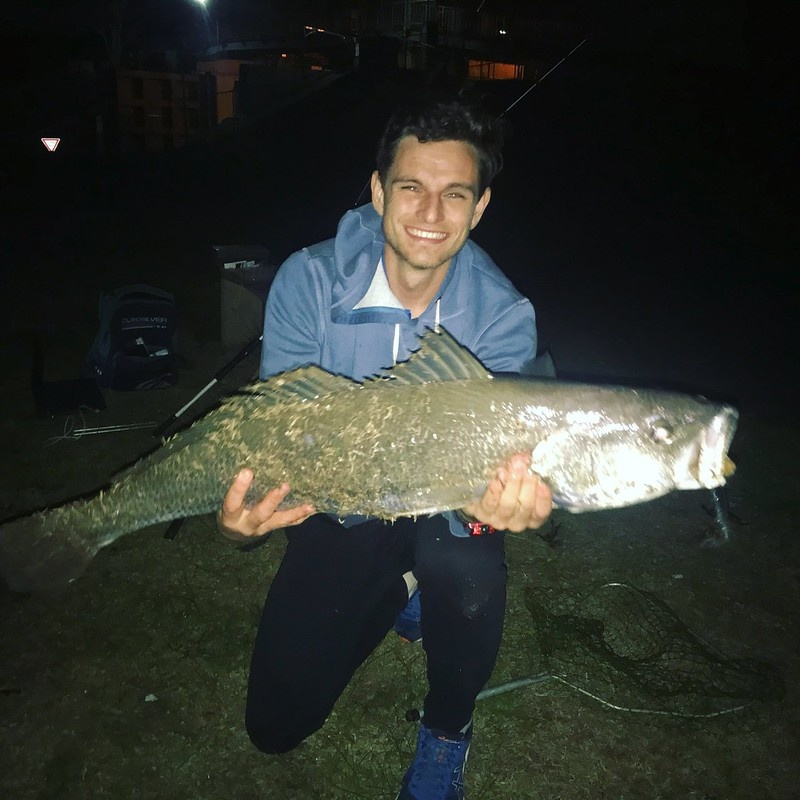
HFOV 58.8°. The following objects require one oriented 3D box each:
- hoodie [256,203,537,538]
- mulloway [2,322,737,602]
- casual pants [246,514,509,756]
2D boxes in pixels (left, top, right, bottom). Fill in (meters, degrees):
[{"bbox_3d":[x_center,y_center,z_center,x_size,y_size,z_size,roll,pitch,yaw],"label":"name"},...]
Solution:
[{"bbox_3d":[-0.167,-0.119,4.324,1.368,1.733,0.758,7,2,-2],"label":"hoodie"},{"bbox_3d":[-0.237,0.237,3.709,3.548,1.222,1.147,-8,32,6],"label":"mulloway"},{"bbox_3d":[-0.068,0.967,3.559,1.253,0.342,1.537,15,23,18],"label":"casual pants"}]
